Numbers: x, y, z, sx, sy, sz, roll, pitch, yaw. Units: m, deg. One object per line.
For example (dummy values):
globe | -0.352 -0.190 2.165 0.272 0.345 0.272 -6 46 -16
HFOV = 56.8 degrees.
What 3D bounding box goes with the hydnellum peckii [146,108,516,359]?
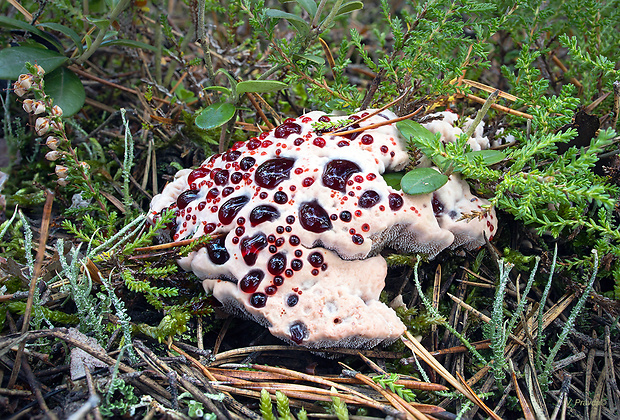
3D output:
hydnellum peckii | 0.061 0.143 3.880 1.954 0.574 1.741 0 71 -7
